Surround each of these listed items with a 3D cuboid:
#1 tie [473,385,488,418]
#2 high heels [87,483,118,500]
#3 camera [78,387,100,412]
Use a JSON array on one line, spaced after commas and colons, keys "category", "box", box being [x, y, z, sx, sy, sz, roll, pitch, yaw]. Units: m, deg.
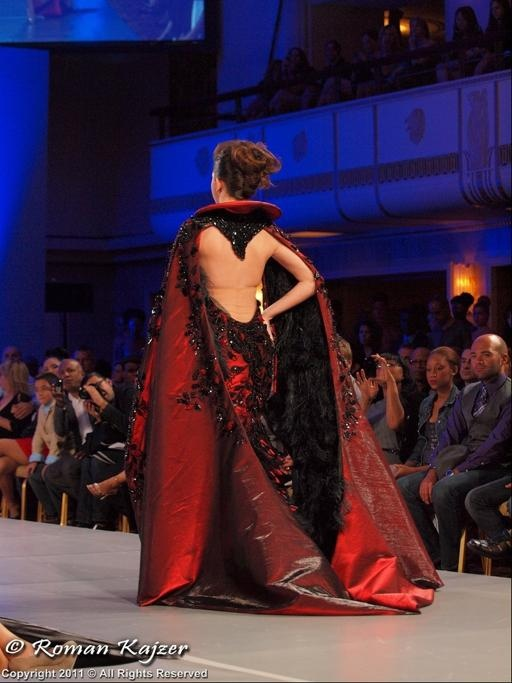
[{"category": "tie", "box": [1.075, 0.285, 3.548, 0.046, 0.144, 0.072, 4, -11, -19]}, {"category": "high heels", "box": [-0.901, 0.858, 4.251, 0.075, 0.077, 0.216, 20, -6, 37]}, {"category": "camera", "box": [-0.956, 0.319, 4.216, 0.058, 0.146, 0.104, -47, -1, -3]}]
